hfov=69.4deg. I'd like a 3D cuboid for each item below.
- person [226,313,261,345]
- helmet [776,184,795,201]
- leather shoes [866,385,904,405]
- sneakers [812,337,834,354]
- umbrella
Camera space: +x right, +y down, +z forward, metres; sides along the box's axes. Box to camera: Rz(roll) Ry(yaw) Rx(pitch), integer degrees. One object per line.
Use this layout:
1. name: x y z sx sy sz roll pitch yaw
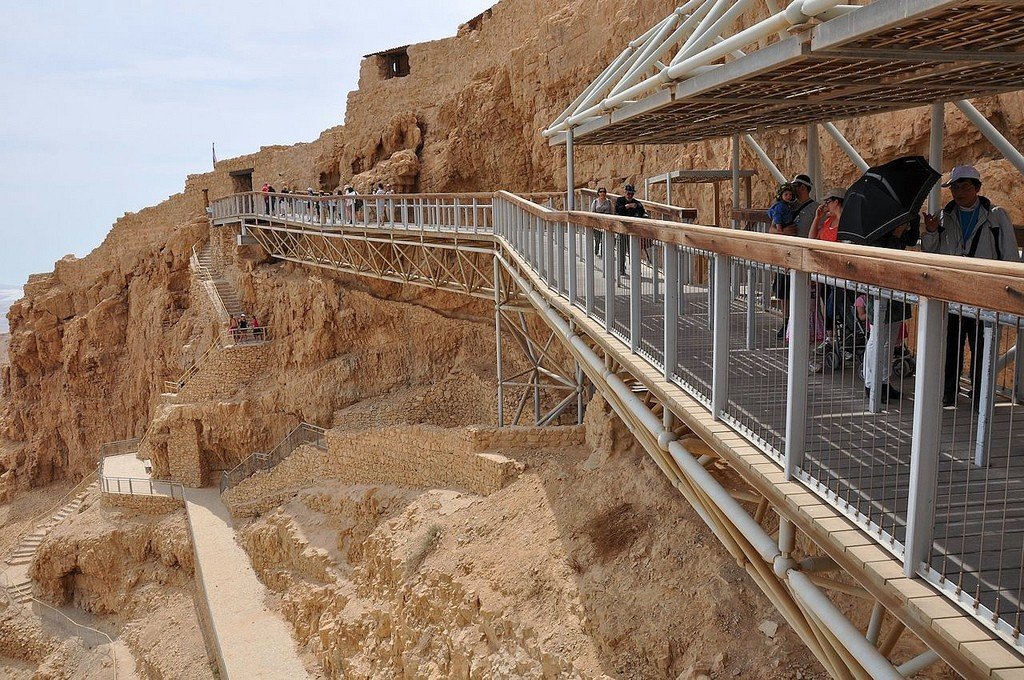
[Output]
1. person: -8.835 -0.361 24.539 1.078 0.871 1.445 -12 13 -19
2. helmet: 2.736 -1.484 7.471 0.151 0.174 0.173 9 -6 33
3. leather shoes: 2.502 0.367 4.986 0.285 0.128 0.090 -11 20 -18
4. sneakers: 2.438 0.040 5.826 0.188 0.060 0.148 -13 24 -35
5. umbrella: 2.905 -1.042 5.780 0.907 0.692 0.469 -16 15 -34
